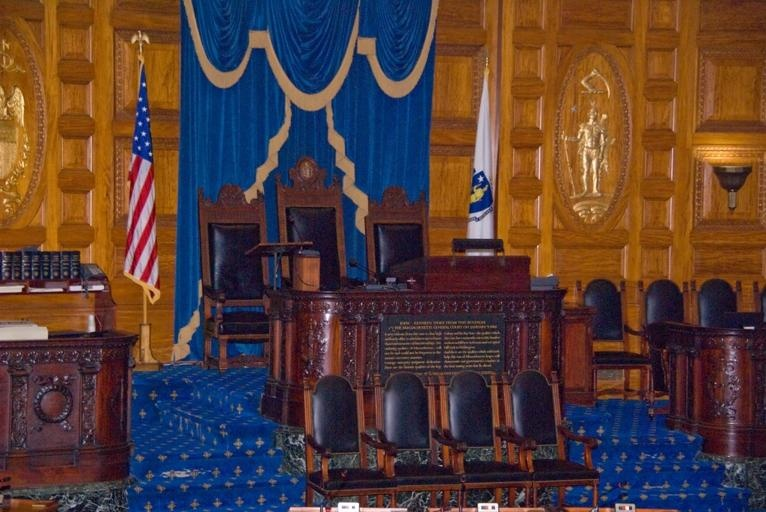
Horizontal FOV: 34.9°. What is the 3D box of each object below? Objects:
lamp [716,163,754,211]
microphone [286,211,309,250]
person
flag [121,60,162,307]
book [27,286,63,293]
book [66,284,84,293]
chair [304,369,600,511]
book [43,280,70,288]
[{"bbox_3d":[4.320,-0.840,15.065,0.473,0.542,0.492,0,-2,-1],"label":"lamp"},{"bbox_3d":[-0.954,-0.279,13.541,0.219,0.587,0.236,4,-23,-19],"label":"microphone"},{"bbox_3d":[2.479,-1.303,14.954,0.550,1.127,0.138,1,-2,4],"label":"person"},{"bbox_3d":[-2.691,-0.837,13.721,0.379,2.686,0.243,1,-2,-13],"label":"flag"},{"bbox_3d":[-3.164,0.305,11.514,0.304,0.063,0.033,1,5,-32],"label":"book"},{"bbox_3d":[-2.923,0.295,11.607,0.146,0.072,0.036,1,-2,-17],"label":"book"},{"bbox_3d":[0.562,1.714,11.467,2.592,1.291,1.033,1,-2,-5],"label":"chair"},{"bbox_3d":[-3.076,0.260,11.539,0.140,0.031,0.083,-1,42,-9],"label":"book"}]
